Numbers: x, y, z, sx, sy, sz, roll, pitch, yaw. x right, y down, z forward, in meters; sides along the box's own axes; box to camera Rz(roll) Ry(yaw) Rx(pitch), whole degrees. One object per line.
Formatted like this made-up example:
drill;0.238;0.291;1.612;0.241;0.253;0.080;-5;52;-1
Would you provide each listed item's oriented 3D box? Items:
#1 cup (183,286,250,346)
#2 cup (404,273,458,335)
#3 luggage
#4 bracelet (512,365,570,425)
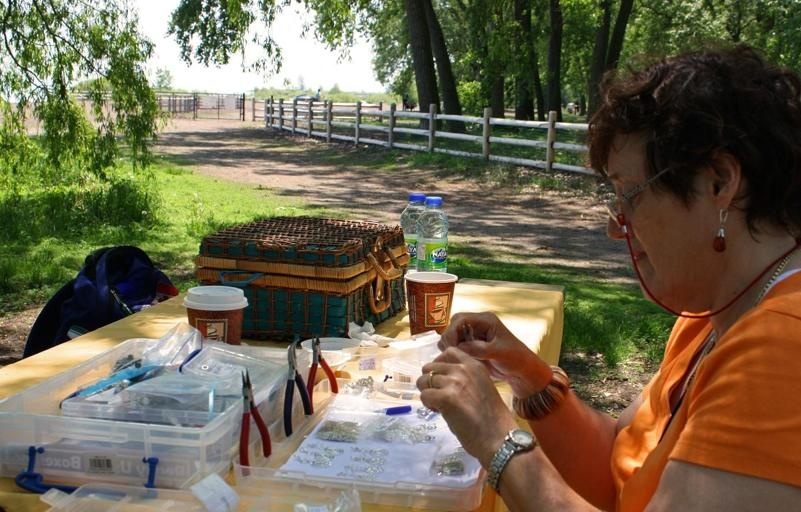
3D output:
cup;-0.794;0.227;2.753;0.246;0.219;0.252;1;10;0
cup;0.168;0.210;3.153;0.272;0.290;0.275;0;10;0
luggage;-0.468;0.115;3.348;0.816;0.707;0.780;-1;-1;17
bracelet;0.574;0.575;2.572;0.191;0.097;0.223;-30;8;21
